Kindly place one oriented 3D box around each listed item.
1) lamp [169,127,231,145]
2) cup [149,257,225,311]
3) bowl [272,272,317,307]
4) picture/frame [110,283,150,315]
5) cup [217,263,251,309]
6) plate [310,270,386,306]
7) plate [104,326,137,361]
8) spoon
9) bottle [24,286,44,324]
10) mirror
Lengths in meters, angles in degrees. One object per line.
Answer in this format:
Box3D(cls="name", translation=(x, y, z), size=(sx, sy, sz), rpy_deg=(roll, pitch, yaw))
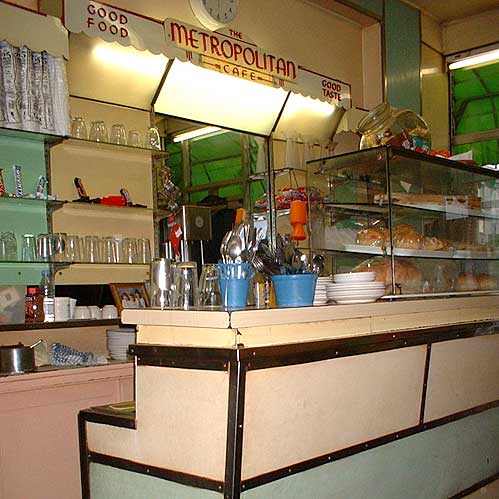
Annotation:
Box3D(cls="lamp", translation=(-0.382, -0.973, 3.911), size=(0.801, 0.133, 0.080), rpy_deg=(-13, 19, -32))
Box3D(cls="cup", translation=(-0.204, 0.104, 1.616), size=(0.281, 0.198, 0.125), rpy_deg=(3, -4, -13))
Box3D(cls="bowl", translation=(0.131, 0.118, 1.409), size=(0.108, 0.075, 0.098), rpy_deg=(1, -4, -34))
Box3D(cls="picture/frame", translation=(-0.709, 0.285, 2.682), size=(0.028, 0.264, 0.285), rpy_deg=(-26, -14, 28))
Box3D(cls="cup", translation=(-0.041, 0.115, 1.444), size=(0.114, 0.135, 0.115), rpy_deg=(2, 0, 0))
Box3D(cls="plate", translation=(0.355, 0.142, 1.646), size=(0.227, 0.087, 0.225), rpy_deg=(-4, 1, 24))
Box3D(cls="plate", translation=(-0.739, 0.538, 2.652), size=(0.123, 0.182, 0.216), rpy_deg=(-5, 2, -30))
Box3D(cls="spoon", translation=(0.059, 0.014, 1.446), size=(0.205, 0.095, 0.178), rpy_deg=(3, 16, -16))
Box3D(cls="bottle", translation=(-1.199, 0.298, 2.570), size=(0.125, 0.221, 0.076), rpy_deg=(-5, 2, -44))
Box3D(cls="mirror", translation=(-0.299, -0.526, 4.085), size=(1.040, 2.153, 0.992), rpy_deg=(0, 0, -7))
